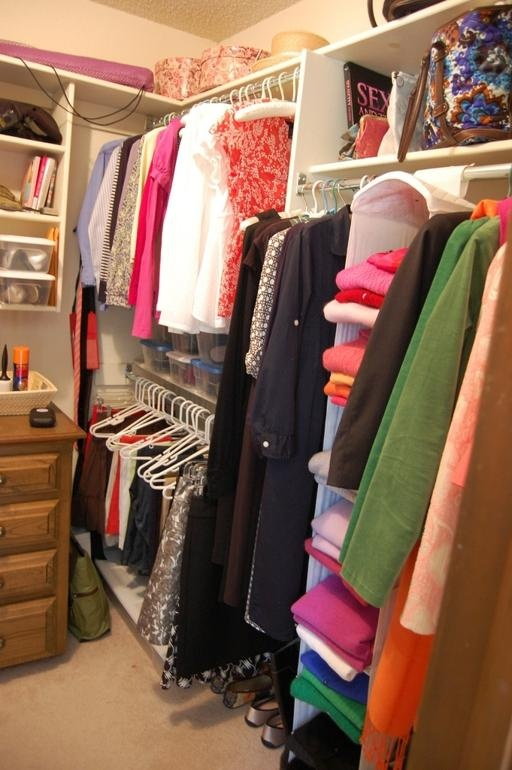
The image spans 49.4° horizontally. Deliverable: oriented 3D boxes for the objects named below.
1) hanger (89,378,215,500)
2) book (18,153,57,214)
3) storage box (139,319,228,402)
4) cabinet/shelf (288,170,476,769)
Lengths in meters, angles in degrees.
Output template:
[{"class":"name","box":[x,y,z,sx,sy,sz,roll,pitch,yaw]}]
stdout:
[{"class":"hanger","box":[-0.386,0.120,2.069,0.351,0.187,0.511,-10,25,-41]},{"class":"book","box":[-0.872,-0.810,2.243,0.077,0.216,0.220,8,20,-23]},{"class":"storage box","box":[-0.250,-0.102,2.012,0.229,0.126,0.364,0,11,-34]},{"class":"cabinet/shelf","box":[0.250,0.223,1.172,0.219,1.323,0.375,2,6,-17]}]
